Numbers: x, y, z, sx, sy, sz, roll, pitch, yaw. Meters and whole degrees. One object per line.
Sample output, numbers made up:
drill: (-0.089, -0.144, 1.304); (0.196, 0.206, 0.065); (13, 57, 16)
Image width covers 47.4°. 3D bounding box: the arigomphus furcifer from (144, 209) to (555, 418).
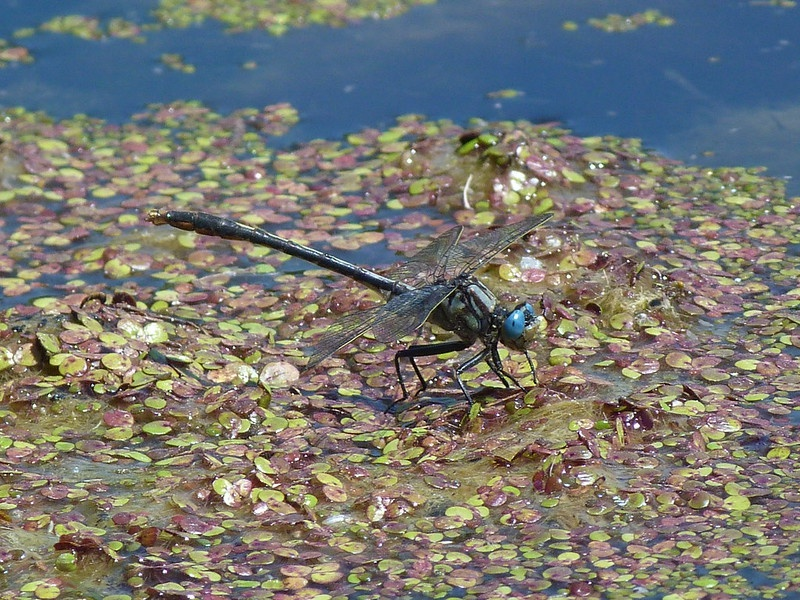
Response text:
arigomphus furcifer: (-0.571, 0.138, 8.371); (3.652, 0.800, 2.351); (11, 25, 26)
